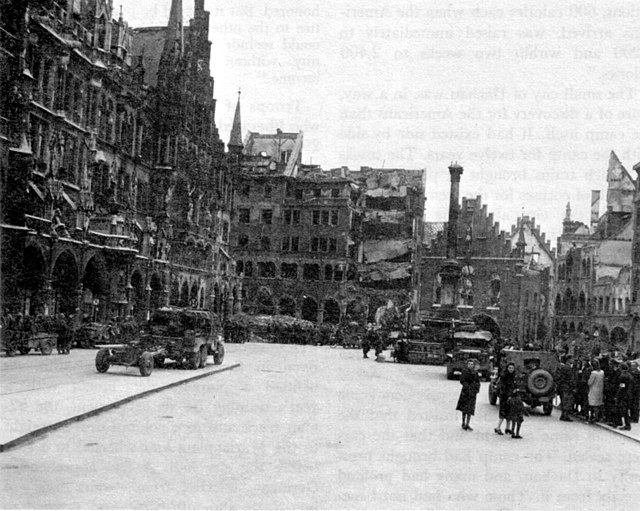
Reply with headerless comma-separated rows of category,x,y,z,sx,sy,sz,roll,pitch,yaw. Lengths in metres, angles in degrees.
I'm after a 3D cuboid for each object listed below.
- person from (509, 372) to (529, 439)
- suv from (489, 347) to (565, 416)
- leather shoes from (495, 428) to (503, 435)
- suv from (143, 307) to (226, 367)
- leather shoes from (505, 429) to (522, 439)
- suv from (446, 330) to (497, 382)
person,5.604,4.462,32.633,0.449,1.250,1.794,5,3,10
suv,6.779,3.959,37.292,1.650,1.393,2.558,3,-1,-1
leather shoes,5.111,4.975,32.563,0.249,0.157,0.390,4,3,6
suv,-5.259,3.132,44.174,1.845,1.503,2.958,1,-1,25
leather shoes,5.444,5.008,32.137,0.182,0.213,0.528,4,2,0
suv,6.648,4.477,50.547,1.735,1.405,3.159,1,1,9
